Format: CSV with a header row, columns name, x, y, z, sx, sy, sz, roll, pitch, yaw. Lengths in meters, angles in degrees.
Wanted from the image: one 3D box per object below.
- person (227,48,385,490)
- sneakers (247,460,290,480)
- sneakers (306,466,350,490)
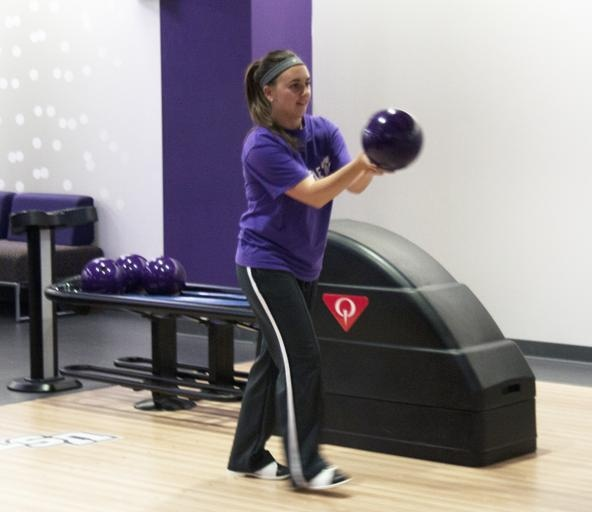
name,x,y,z,sx,sy,sz,roll,pitch,yaw
person,0.009,0.082,1.912,0.390,1.089,0.731,0,-1,-44
sneakers,-0.087,0.794,2.134,0.114,0.052,0.070,-6,-5,11
sneakers,0.108,0.757,1.975,0.065,0.075,0.178,-8,-11,29
